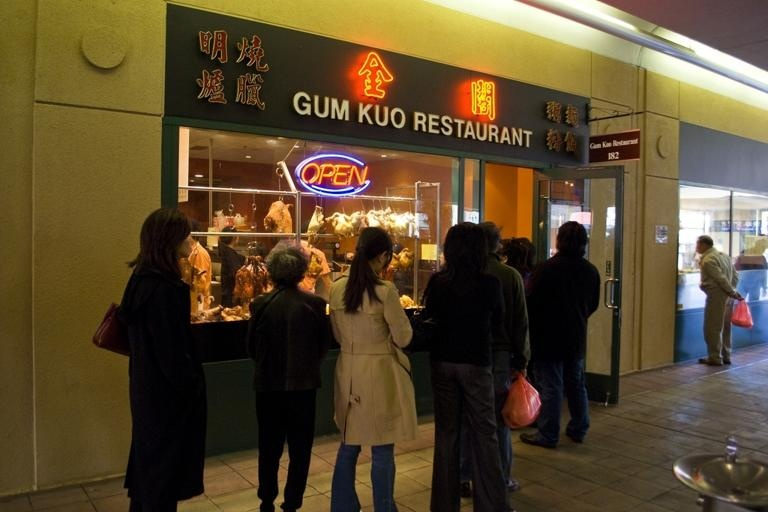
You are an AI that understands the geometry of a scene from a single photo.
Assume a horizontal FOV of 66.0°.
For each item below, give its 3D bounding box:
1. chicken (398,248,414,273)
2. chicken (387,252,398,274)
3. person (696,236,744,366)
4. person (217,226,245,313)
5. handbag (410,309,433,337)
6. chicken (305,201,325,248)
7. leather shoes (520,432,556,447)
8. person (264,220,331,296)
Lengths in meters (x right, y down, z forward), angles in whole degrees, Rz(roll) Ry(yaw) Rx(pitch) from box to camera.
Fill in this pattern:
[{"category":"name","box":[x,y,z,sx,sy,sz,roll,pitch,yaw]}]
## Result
[{"category":"chicken","box":[0.258,0.049,7.318,0.151,0.212,0.284,2,-17,-6]},{"category":"chicken","box":[0.134,0.104,7.135,0.175,0.234,0.084,7,-6,-40]},{"category":"person","box":[5.684,0.750,10.105,0.640,2.127,0.729,2,7,6]},{"category":"person","box":[-1.631,0.160,6.296,0.270,0.730,0.149,-1,7,-18]},{"category":"handbag","box":[0.291,0.571,5.039,0.147,0.183,0.189,1,0,-30]},{"category":"chicken","box":[-0.778,-0.358,6.767,0.121,0.408,0.220,9,-7,35]},{"category":"leather shoes","box":[1.722,2.052,6.593,0.379,0.158,0.144,10,3,39]},{"category":"person","box":[-0.818,0.038,6.399,0.625,0.308,0.880,7,-10,1]}]
